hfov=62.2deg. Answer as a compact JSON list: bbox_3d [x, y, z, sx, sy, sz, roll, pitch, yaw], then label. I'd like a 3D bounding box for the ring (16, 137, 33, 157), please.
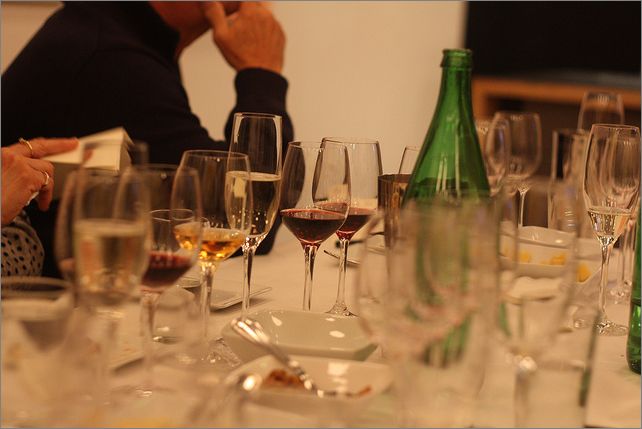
[{"bbox_3d":[-0.689,-0.159,1.241,0.013,0.048,0.049,-17,-19,19],"label":"ring"}]

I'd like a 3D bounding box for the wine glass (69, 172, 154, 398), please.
[{"bbox_3d":[-0.210,0.032,0.534,0.073,0.153,0.096,2,3,-26],"label":"wine glass"}]

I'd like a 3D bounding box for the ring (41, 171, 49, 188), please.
[{"bbox_3d":[-0.600,-0.079,1.161,0.021,0.029,0.011,7,5,6],"label":"ring"}]
